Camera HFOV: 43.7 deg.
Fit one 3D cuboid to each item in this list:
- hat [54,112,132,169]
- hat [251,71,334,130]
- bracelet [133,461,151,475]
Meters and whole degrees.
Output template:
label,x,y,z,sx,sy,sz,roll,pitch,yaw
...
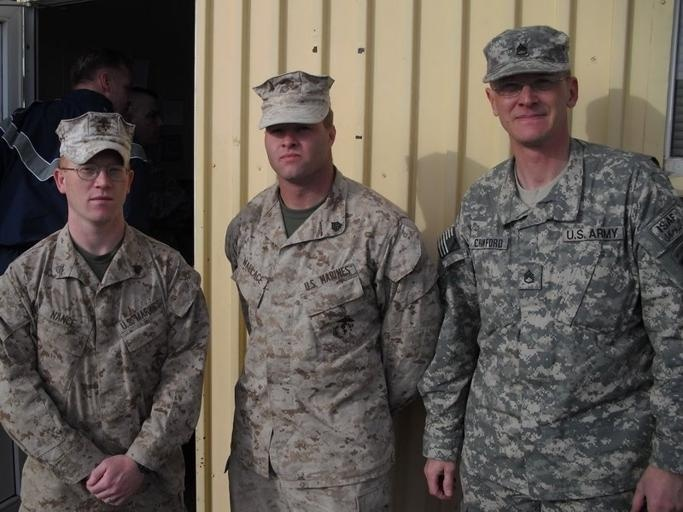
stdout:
label,x,y,z,sx,sy,sz,roll,pitch,yaw
hat,-1.154,-0.556,3.964,0.225,0.162,0.289,1,-2,-21
hat,-0.228,-0.755,4.083,0.249,0.161,0.304,-8,6,14
bracelet,-0.914,0.976,3.932,0.049,0.080,0.078,11,-7,-19
